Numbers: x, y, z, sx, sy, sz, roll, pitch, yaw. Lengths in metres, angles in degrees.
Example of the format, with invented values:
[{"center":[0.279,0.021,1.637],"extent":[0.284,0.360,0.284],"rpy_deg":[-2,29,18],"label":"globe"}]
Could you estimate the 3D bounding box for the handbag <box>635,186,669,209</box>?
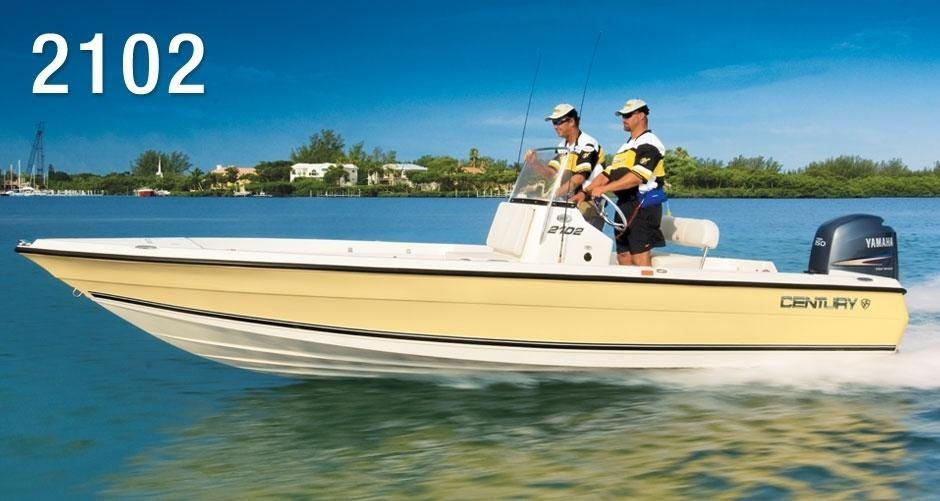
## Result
[{"center":[2.356,-0.663,7.847],"extent":[0.558,0.204,0.114],"rpy_deg":[-10,0,-6],"label":"handbag"}]
